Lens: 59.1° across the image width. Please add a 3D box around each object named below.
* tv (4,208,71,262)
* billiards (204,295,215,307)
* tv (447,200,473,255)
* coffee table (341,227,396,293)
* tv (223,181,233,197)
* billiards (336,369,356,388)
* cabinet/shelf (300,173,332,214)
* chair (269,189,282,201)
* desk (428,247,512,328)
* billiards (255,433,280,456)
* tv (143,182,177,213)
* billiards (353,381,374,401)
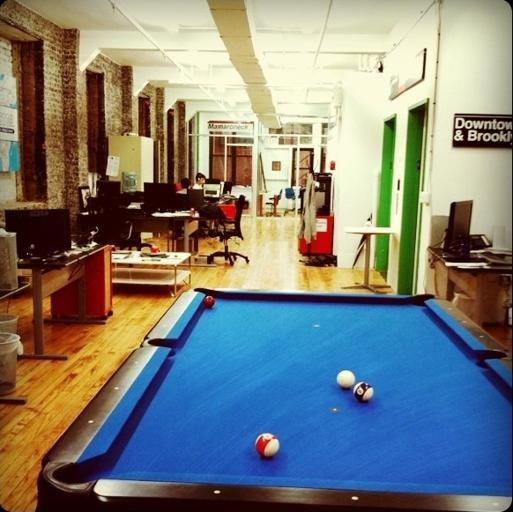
[{"bbox_3d":[-2.018,-0.196,4.189,0.439,0.507,0.160,-8,12,-39],"label":"tv"},{"bbox_3d":[-0.315,0.305,3.063,0.067,0.079,0.066,5,1,-5],"label":"billiards"},{"bbox_3d":[2.065,-0.281,4.616,0.190,0.580,0.540,4,6,21],"label":"tv"},{"bbox_3d":[1.766,0.019,7.257,0.960,1.195,1.027,2,18,8],"label":"coffee table"},{"bbox_3d":[-0.908,-2.153,14.301,0.253,0.399,0.678,0,8,-6],"label":"tv"},{"bbox_3d":[0.372,0.514,1.930,0.073,0.074,0.071,9,6,-28],"label":"billiards"},{"bbox_3d":[1.448,-1.366,9.911,0.403,0.909,0.503,2,8,6],"label":"cabinet/shelf"},{"bbox_3d":[0.835,-2.816,20.167,0.611,0.704,0.631,1,6,2],"label":"chair"},{"bbox_3d":[1.980,0.264,4.186,0.441,0.402,0.818,0,8,2],"label":"desk"},{"bbox_3d":[0.032,0.575,1.368,0.069,0.070,0.069,8,-7,-5],"label":"billiards"},{"bbox_3d":[-1.858,-1.150,8.797,0.621,0.596,0.147,1,11,-5],"label":"tv"},{"bbox_3d":[0.426,0.528,1.805,0.069,0.070,0.069,5,3,20],"label":"billiards"}]
